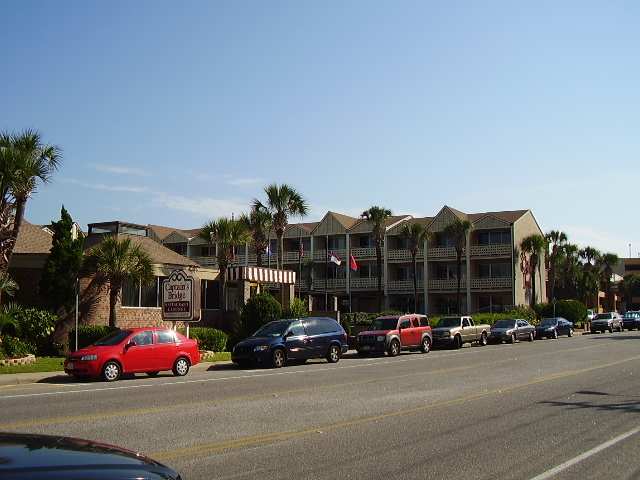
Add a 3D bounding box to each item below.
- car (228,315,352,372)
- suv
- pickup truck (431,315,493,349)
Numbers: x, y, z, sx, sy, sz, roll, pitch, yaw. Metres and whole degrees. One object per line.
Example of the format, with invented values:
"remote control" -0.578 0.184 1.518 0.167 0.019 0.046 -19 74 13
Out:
"car" -1.108 4.026 26.551 4.969 2.039 1.179 10 -13 -42
"suv" 3.583 4.548 32.187 3.911 2.038 1.454 10 -13 -42
"pickup truck" 7.511 5.157 37.206 1.598 1.391 3.405 -8 -14 33
